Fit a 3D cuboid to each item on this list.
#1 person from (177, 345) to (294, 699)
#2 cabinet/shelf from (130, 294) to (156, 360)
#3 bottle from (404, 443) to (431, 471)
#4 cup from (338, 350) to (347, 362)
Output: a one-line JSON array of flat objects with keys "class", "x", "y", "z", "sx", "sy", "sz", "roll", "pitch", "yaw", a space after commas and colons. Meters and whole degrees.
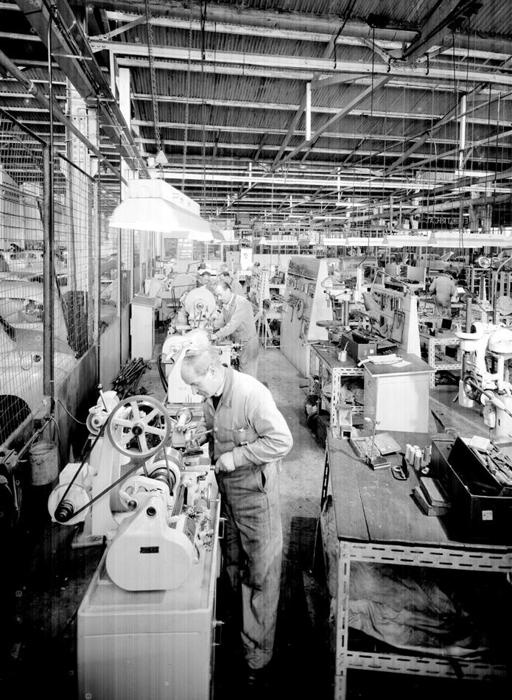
[{"class": "person", "x": -0.077, "y": 0.758, "z": 2.900, "sx": 0.519, "sy": 1.656, "sz": 0.627, "roll": 1, "pitch": 8, "yaw": 4}, {"class": "cabinet/shelf", "x": -1.832, "y": -0.363, "z": 8.851, "sx": 0.261, "sy": 0.966, "sz": 0.819, "roll": 1, "pitch": 7, "yaw": -7}, {"class": "bottle", "x": 0.914, "y": 0.600, "z": 3.093, "sx": 0.123, "sy": 0.155, "sz": 0.110, "roll": 16, "pitch": 21, "yaw": 38}, {"class": "cup", "x": 0.916, "y": 0.067, "z": 5.826, "sx": 0.092, "sy": 0.128, "sz": 0.070, "roll": -3, "pitch": 11, "yaw": -13}]
